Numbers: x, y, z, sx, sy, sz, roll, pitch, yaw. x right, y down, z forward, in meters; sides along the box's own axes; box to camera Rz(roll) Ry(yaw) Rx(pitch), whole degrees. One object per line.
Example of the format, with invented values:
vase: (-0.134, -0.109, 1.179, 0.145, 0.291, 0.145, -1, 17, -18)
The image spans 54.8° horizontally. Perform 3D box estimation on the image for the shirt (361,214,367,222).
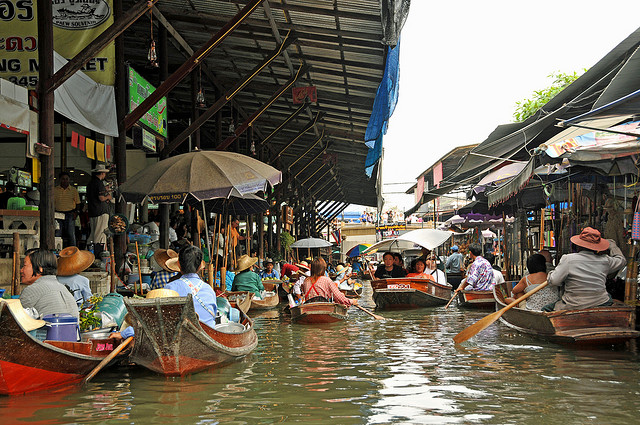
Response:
shirt: (4.347, 0.393, 61.421, 0.723, 0.959, 0.247, 1, -5, 8)

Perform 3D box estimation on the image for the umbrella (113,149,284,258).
umbrella: (-2.313, -0.240, 12.318, 2.372, 1.504, 2.178, -6, 4, -17)

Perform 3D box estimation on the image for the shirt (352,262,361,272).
shirt: (2.329, 3.479, 39.479, 0.680, 0.609, 0.374, 2, -2, -21)

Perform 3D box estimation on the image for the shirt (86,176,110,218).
shirt: (-5.234, -0.371, 14.539, 0.507, 0.911, 0.832, -1, 0, -39)

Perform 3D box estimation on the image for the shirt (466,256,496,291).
shirt: (4.376, 1.626, 16.819, 0.641, 0.905, 1.154, 2, 5, 35)

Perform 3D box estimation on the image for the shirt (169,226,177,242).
shirt: (-4.315, 0.628, 18.031, 0.266, 0.426, 0.459, -3, 1, 0)

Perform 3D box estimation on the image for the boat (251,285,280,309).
boat: (-1.601, 2.399, 17.646, 0.704, 0.375, 2.361, 3, 5, 5)

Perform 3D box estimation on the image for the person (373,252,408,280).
person: (2.123, 1.714, 18.564, 1.260, 0.877, 0.760, -2, -10, 3)

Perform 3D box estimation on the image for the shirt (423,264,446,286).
shirt: (3.632, 1.960, 18.938, 0.864, 0.794, 0.454, -2, -4, -2)

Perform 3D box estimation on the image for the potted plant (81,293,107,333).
potted plant: (-3.718, 1.641, 9.982, 0.482, 0.569, 0.567, 6, -9, -37)

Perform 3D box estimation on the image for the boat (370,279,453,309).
boat: (2.896, 2.519, 18.612, 1.995, 0.810, 3.773, -6, -12, 26)

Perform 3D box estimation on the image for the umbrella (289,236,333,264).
umbrella: (-0.639, 2.155, 35.800, 1.795, 1.031, 1.633, -3, -12, 12)

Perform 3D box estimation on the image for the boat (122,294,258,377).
boat: (-2.025, 1.862, 9.596, 1.938, 1.372, 1.071, -2, 4, -22)

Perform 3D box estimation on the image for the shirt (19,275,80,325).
shirt: (-4.093, 1.389, 9.381, 0.595, 0.836, 1.082, -18, -11, 21)

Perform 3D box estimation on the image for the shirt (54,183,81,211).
shirt: (-6.247, -0.382, 15.043, 0.789, 0.659, 0.433, 1, 12, -17)

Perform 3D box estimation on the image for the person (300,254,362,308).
person: (0.213, 1.766, 15.158, 1.008, 0.945, 2.045, 0, -10, 8)

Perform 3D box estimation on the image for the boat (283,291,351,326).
boat: (-0.036, 2.437, 15.474, 1.504, 0.737, 2.712, 3, -8, 6)

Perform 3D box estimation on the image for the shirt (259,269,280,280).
shirt: (-1.800, 2.131, 21.635, 0.712, 0.465, 0.377, 1, -25, -2)

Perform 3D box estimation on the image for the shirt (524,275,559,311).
shirt: (4.182, 1.614, 11.655, 0.537, 0.435, 0.402, 0, -1, -25)

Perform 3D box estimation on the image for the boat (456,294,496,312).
boat: (4.136, 2.389, 16.620, 1.190, 0.292, 0.459, 3, -1, 29)

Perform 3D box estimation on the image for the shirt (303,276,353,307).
shirt: (0.220, 1.884, 14.953, 1.074, 0.677, 1.595, 0, -7, 1)

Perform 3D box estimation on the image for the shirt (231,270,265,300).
shirt: (-1.904, 2.021, 16.271, 1.020, 0.962, 0.596, -3, -12, -9)

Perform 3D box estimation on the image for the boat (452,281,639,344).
boat: (4.261, 1.596, 11.371, 1.395, 0.631, 2.439, -1, -4, -10)

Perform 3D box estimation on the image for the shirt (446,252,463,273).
shirt: (4.709, 1.741, 21.507, 0.544, 0.687, 0.520, 0, 3, 10)

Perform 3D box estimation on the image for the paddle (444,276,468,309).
paddle: (3.959, 2.345, 17.980, 0.075, 1.149, 0.079, 35, 22, 16)

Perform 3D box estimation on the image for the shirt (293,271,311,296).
shirt: (-0.594, 1.852, 15.806, 0.224, 0.603, 0.460, 42, 8, 12)

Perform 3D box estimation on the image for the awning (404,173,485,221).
awning: (3.752, -0.514, 19.827, 3.231, 1.353, 1.226, -3, -3, 4)

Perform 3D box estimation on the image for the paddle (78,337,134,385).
paddle: (-3.179, 2.217, 9.479, 1.336, 0.223, 0.062, -30, -16, -40)

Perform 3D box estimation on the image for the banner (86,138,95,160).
banner: (-6.088, -1.703, 16.285, 0.188, 0.508, 0.659, -2, 3, -15)

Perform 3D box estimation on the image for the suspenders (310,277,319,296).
suspenders: (-0.139, 1.733, 14.524, 0.070, 0.465, 0.065, 2, -35, -37)

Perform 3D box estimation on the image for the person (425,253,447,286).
person: (3.634, 1.802, 19.374, 0.811, 1.038, 0.533, -4, -47, -2)
